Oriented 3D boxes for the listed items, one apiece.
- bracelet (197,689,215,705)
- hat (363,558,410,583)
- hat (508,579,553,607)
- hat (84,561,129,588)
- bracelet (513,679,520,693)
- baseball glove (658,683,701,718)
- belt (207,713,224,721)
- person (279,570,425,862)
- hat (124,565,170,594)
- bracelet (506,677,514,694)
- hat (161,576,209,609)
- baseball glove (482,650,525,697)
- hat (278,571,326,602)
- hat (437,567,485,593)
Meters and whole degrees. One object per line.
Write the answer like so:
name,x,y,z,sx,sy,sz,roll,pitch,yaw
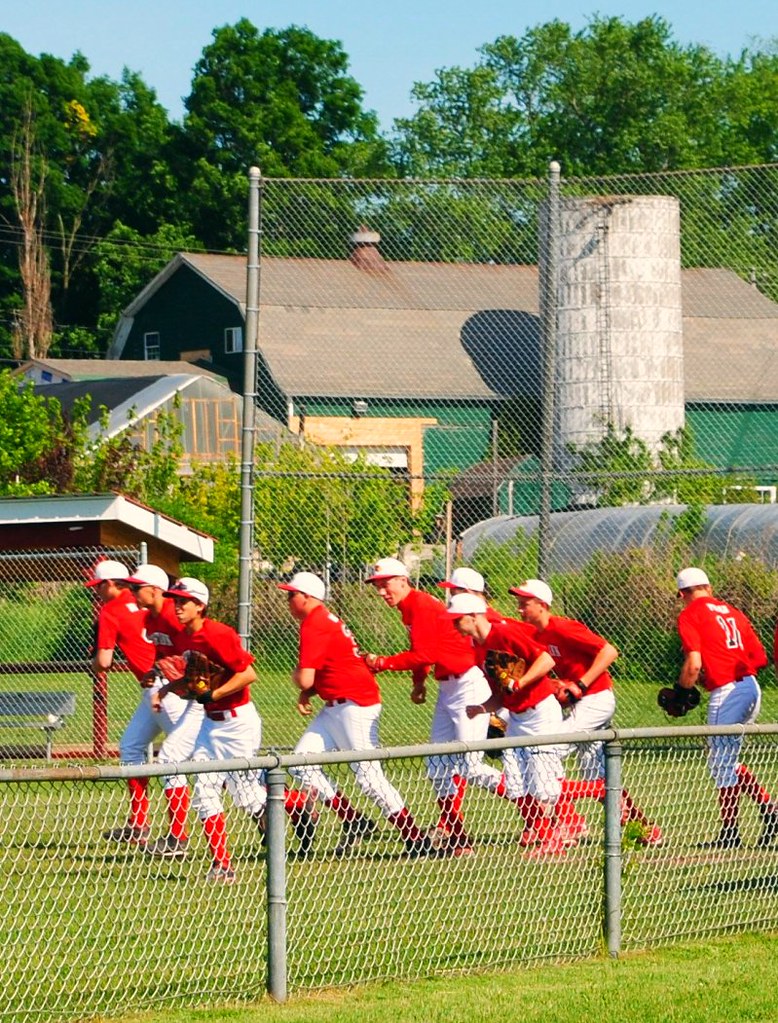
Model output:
bracelet,-1.104,1.117,16.211,0.063,0.079,0.067,7,-12,3
hat,0.011,0.387,17.635,0.149,0.110,0.209,-11,-17,42
hat,0.885,0.543,16.957,0.215,0.115,0.154,12,-6,-10
hat,-1.885,0.428,18.007,0.266,0.145,0.200,0,-2,24
bracelet,0.762,1.062,16.473,0.043,0.080,0.108,3,5,4
baseball glove,1.882,1.213,17.667,0.197,0.262,0.187,-26,49,-16
belt,-1.060,1.246,16.429,0.064,0.043,0.052,-2,0,9
person,-0.265,1.325,17.261,0.943,1.946,0.753,-3,-29,-3
hat,-1.566,0.440,17.392,0.240,0.128,0.177,21,-1,-4
bracelet,0.732,1.067,16.509,0.046,0.104,0.148,3,5,2
hat,-1.179,0.496,16.319,0.157,0.123,0.224,4,-21,47
baseball glove,0.697,1.009,16.539,0.196,0.276,0.117,7,9,28
hat,-0.554,0.473,16.754,0.241,0.129,0.174,14,-4,1
hat,0.485,0.453,17.330,0.200,0.100,0.144,13,-3,3
